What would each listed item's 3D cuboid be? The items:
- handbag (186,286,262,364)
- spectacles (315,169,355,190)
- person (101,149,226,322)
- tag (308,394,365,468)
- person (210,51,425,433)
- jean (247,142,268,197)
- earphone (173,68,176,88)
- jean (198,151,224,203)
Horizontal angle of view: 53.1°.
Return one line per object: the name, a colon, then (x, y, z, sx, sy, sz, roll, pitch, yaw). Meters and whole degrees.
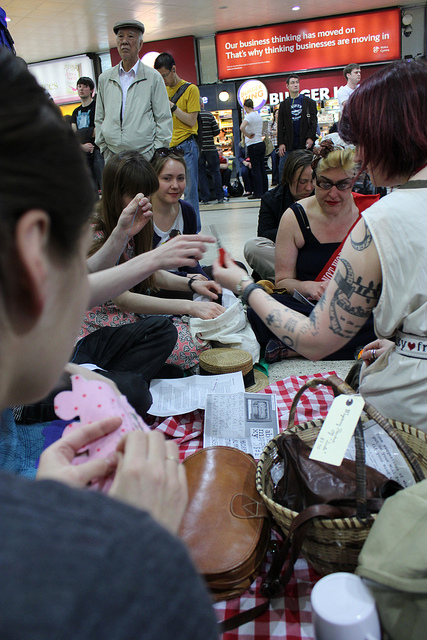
handbag: (0.033, 0.011, 2.176, 0.398, 0.414, 0.168, 0, -18, -16)
spectacles: (0.654, -0.771, 2.343, 0.218, 0.098, 0.109, 5, 26, 23)
person: (-0.304, -0.610, 2.749, 0.512, 0.953, 0.609, 28, 36, 33)
tag: (0.253, 0.217, 0.871, 0.082, 0.104, 0.122, 9, 28, 30)
person: (0.341, -0.185, 1.132, 0.509, 0.863, 0.319, 10, 28, 32)
jean: (0.842, -2.890, 8.061, 0.330, 0.987, 0.278, -23, 26, -38)
earphone: (-0.430, -2.606, 4.576, 0.035, 0.179, 0.063, -6, 24, 1)
jean: (-0.080, -2.784, 8.323, 0.458, 0.952, 0.740, -5, 24, 2)
